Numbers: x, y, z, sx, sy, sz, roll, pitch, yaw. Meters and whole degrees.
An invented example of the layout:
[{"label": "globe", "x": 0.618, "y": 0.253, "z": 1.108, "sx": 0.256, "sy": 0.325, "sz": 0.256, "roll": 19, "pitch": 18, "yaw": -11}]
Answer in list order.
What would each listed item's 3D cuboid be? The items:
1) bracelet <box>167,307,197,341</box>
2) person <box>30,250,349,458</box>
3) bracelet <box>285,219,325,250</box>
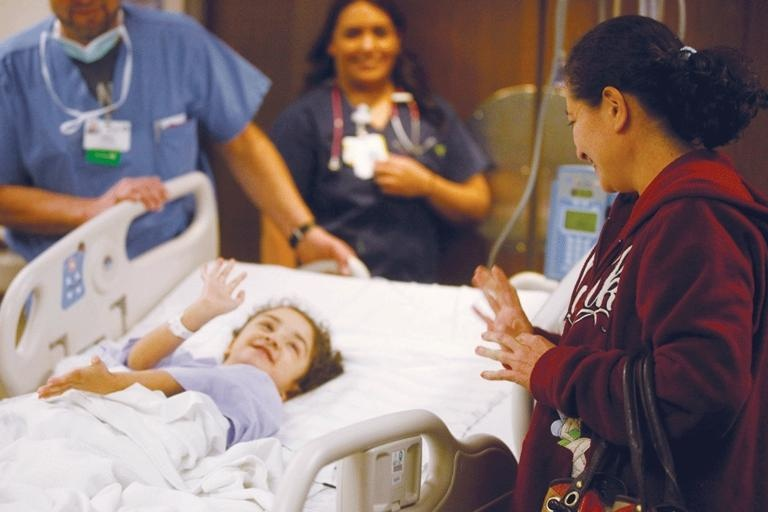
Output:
[{"label": "bracelet", "x": -0.697, "y": 0.243, "z": 3.159, "sx": 0.052, "sy": 0.074, "sz": 0.078, "roll": -30, "pitch": -2, "yaw": 10}, {"label": "person", "x": -0.576, "y": 0.392, "z": 3.200, "sx": 0.517, "sy": 0.485, "sz": 1.010, "roll": 4, "pitch": 1, "yaw": 26}, {"label": "bracelet", "x": -0.294, "y": -0.077, "z": 3.185, "sx": 0.109, "sy": 0.061, "sz": 0.026, "roll": -43, "pitch": 0, "yaw": 12}]
